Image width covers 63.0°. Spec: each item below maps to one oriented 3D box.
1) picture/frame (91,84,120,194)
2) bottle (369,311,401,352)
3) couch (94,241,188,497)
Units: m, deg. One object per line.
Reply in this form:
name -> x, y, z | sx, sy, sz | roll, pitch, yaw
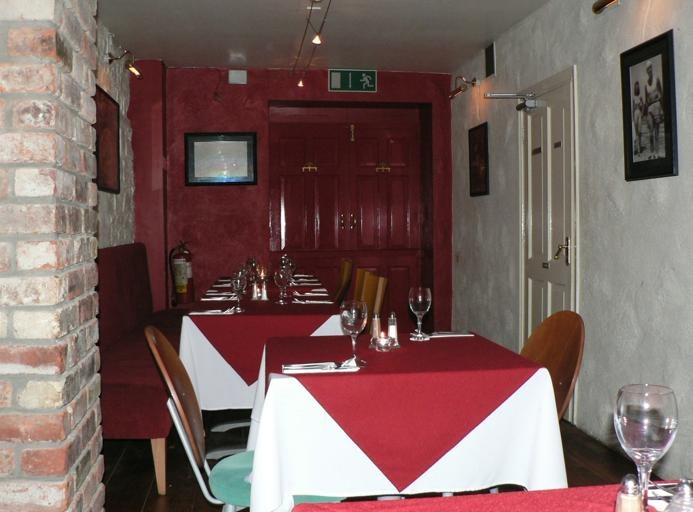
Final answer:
picture/frame -> -2.132, -1.008, 5.011 | 0.108, 0.886, 0.886 | -1, 3, -17
bottle -> 0.174, 0.368, 2.679 | 0.127, 0.172, 0.163 | 1, -11, -2
couch -> -1.368, 0.730, 3.666 | 0.341, 0.746, 1.290 | 0, 9, -12
